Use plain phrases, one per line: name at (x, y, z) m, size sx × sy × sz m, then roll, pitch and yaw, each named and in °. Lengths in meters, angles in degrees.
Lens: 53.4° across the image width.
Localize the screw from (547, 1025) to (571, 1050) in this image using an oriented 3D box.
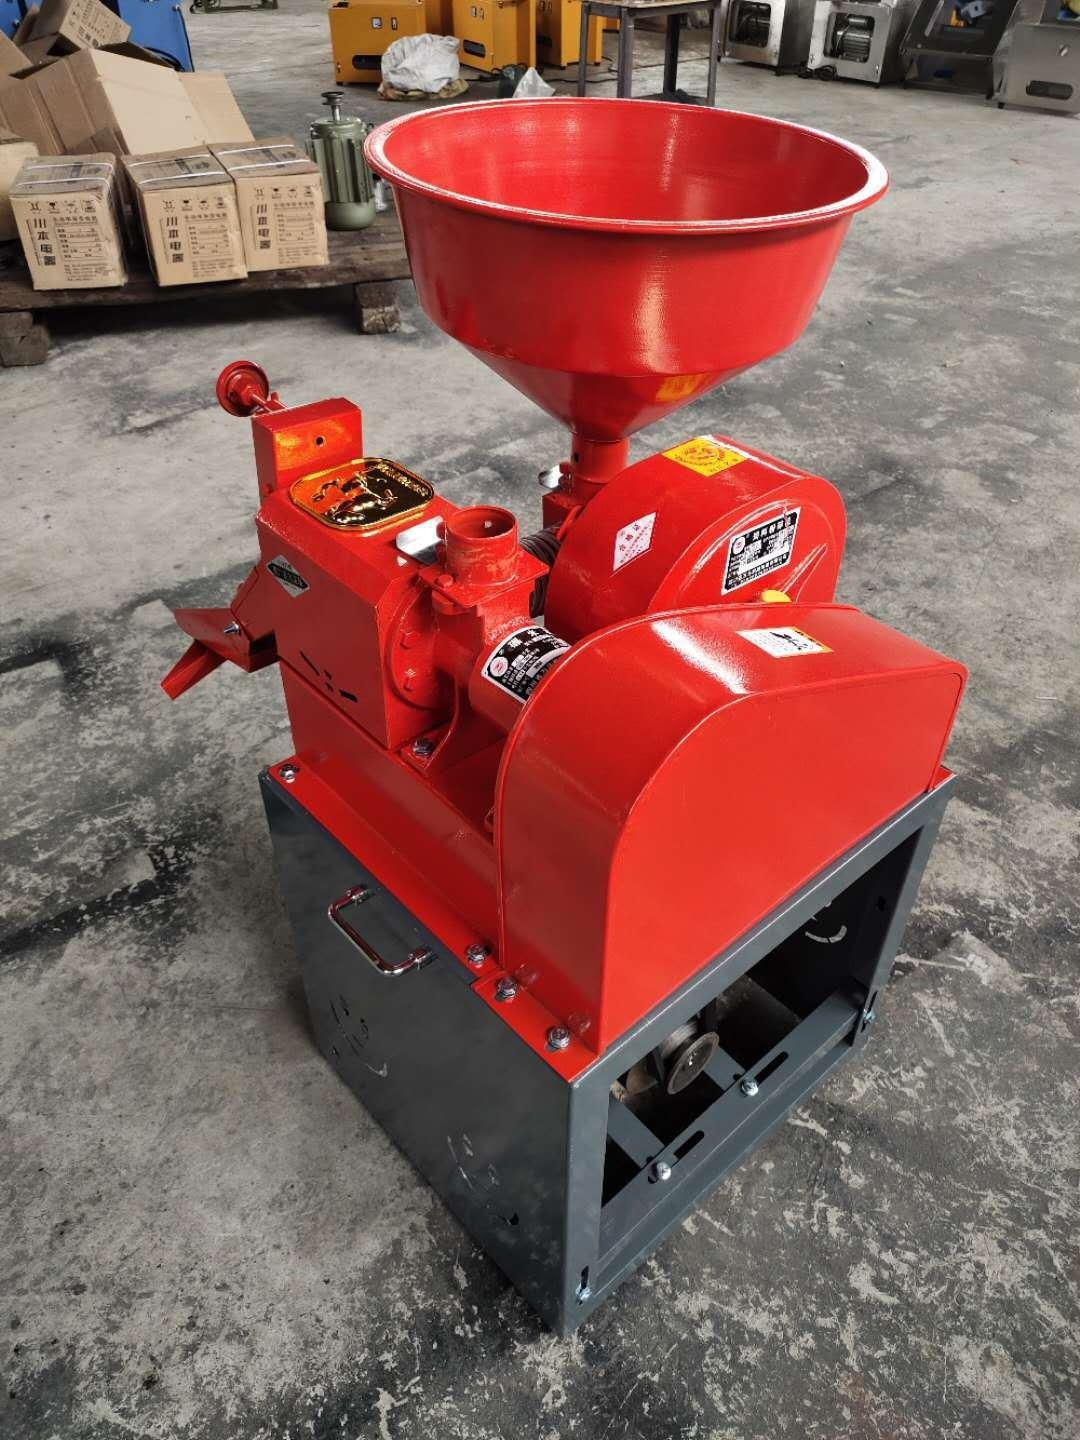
screw at (0.019, 0.298, 1.013) m, size 0.017 × 0.006 × 0.022 m, roll -9°, pitch 48°, yaw -10°

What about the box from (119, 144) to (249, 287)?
box at (-1.200, -1.719, 3.660) m, size 0.307 × 0.344 × 0.523 m, roll -18°, pitch 17°, yaw -11°

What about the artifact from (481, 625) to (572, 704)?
artifact at (-0.010, -0.058, 1.035) m, size 0.075 × 0.037 × 0.080 m, roll -24°, pitch 40°, yaw -32°

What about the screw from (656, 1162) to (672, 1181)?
screw at (0.162, 0.600, 1.435) m, size 0.012 × 0.019 × 0.020 m, roll 8°, pitch 32°, yaw 32°

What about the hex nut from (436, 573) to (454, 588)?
hex nut at (-0.090, -0.133, 1.019) m, size 0.015 × 0.006 × 0.014 m, roll -23°, pitch 58°, yaw -6°

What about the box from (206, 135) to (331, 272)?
box at (-0.911, -1.806, 3.773) m, size 0.354 × 0.427 × 0.451 m, roll -10°, pitch 16°, yaw -11°

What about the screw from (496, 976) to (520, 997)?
screw at (-0.034, 0.265, 1.069) m, size 0.021 × 0.010 × 0.027 m, roll 8°, pitch 34°, yaw 12°

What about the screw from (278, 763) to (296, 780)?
screw at (-0.320, 0.061, 1.357) m, size 0.020 × 0.016 × 0.007 m, roll -51°, pitch 18°, yaw -26°

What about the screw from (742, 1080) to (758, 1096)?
screw at (0.299, 0.524, 1.542) m, size 0.019 × 0.007 × 0.023 m, roll 4°, pitch 66°, yaw 10°

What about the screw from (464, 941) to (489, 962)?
screw at (-0.066, 0.238, 1.105) m, size 0.022 × 0.012 × 0.029 m, roll 10°, pitch 34°, yaw 14°

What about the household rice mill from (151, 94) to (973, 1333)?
household rice mill at (0.079, 0.047, 1.292) m, size 0.708 × 1.356 × 0.669 m, roll -20°, pitch 40°, yaw -27°
